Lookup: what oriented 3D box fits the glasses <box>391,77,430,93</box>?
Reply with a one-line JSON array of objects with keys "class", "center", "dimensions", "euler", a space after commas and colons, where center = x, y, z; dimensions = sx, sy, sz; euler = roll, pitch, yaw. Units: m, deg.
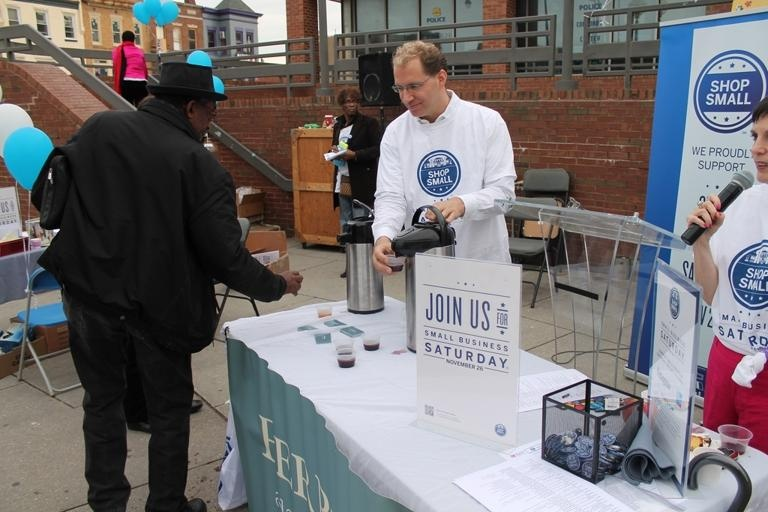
[{"class": "glasses", "center": [0.124, -0.999, 3.503], "dimensions": [0.135, 0.089, 0.262], "euler": [-16, 22, -39]}]

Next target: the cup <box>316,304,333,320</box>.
[{"class": "cup", "center": [-0.390, 0.356, 3.805], "dimensions": [0.068, 0.054, 0.075], "euler": [6, 11, 23]}]

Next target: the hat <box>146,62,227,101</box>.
[{"class": "hat", "center": [-1.160, -1.003, 3.437], "dimensions": [0.503, 0.186, 0.432], "euler": [9, 11, 28]}]

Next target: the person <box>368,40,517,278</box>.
[{"class": "person", "center": [0.357, -0.579, 3.543], "dimensions": [0.876, 1.339, 0.761], "euler": [-1, 18, 2]}]

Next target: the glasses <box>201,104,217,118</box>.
[{"class": "glasses", "center": [-1.030, -0.837, 3.482], "dimensions": [0.067, 0.074, 0.041], "euler": [13, 4, 9]}]

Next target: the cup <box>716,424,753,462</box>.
[{"class": "cup", "center": [1.484, 0.794, 2.549], "dimensions": [0.140, 0.093, 0.139], "euler": [-1, 13, 0]}]

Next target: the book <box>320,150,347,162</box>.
[{"class": "book", "center": [-0.626, -1.269, 7.534], "dimensions": [0.267, 0.145, 0.308], "euler": [-4, 17, -8]}]
